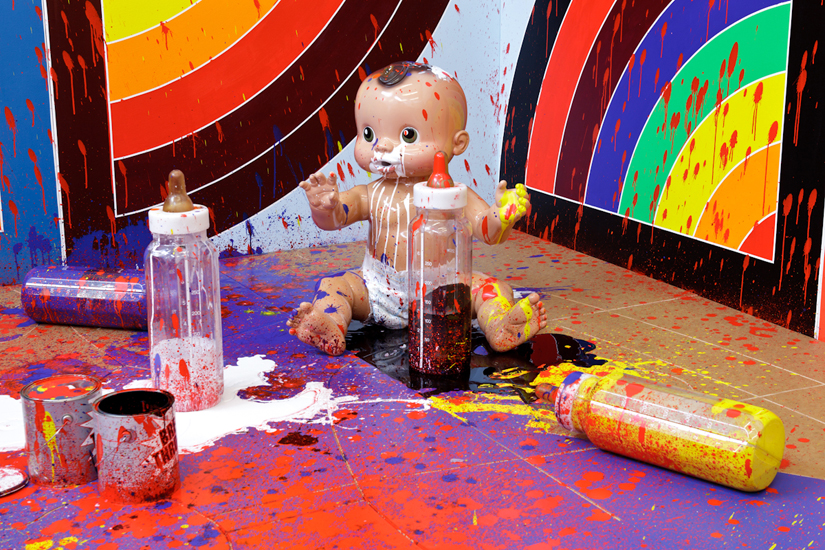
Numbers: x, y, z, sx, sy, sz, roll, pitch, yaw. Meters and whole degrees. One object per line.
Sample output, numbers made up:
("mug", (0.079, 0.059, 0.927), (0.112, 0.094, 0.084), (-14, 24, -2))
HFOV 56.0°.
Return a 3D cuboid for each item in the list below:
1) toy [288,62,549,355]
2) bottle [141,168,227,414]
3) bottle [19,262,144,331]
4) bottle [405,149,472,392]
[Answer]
("toy", (0.041, -0.192, 2.059), (0.571, 0.771, 0.593), (-2, 6, 15))
("bottle", (-0.529, 0.032, 1.771), (0.170, 0.538, 0.172), (-2, 9, 0))
("bottle", (-0.915, 0.070, 2.184), (0.376, 0.164, 0.083), (0, 10, 13))
("bottle", (0.065, 0.050, 1.914), (0.163, 0.414, 0.187), (-1, 10, 3))
